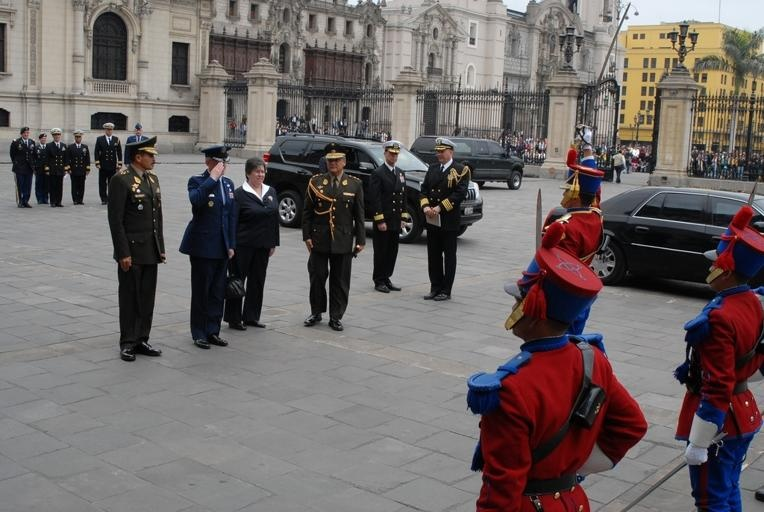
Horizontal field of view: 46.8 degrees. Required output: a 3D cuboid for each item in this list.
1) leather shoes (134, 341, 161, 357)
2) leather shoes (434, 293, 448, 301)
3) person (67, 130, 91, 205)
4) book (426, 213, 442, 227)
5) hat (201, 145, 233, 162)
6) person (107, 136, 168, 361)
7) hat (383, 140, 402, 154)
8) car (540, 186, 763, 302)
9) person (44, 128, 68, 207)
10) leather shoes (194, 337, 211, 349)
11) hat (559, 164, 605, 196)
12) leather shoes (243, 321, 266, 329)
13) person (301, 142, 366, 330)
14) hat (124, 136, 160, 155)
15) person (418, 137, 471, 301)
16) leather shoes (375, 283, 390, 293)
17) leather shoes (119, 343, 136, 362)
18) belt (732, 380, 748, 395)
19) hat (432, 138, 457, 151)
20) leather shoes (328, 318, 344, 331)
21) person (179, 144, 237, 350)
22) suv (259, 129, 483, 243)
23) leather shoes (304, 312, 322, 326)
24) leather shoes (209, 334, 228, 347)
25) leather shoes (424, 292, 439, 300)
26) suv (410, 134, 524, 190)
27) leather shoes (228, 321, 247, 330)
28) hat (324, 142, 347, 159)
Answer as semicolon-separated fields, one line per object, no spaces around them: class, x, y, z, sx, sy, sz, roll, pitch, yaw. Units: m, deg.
leather shoes;-2.878;1.147;10.774;0.406;0.143;0.128;1;8;-7
leather shoes;0.924;0.636;13.739;0.088;0.085;0.218;-6;-10;34
person;-8.045;-2.372;23.331;0.538;1.891;1.092;0;10;-18
book;0.822;-0.564;13.845;0.249;0.213;0.187;10;22;32
hat;-2.084;-1.300;10.986;0.267;0.148;0.295;-6;11;-34
person;-2.942;-0.109;10.674;0.660;2.670;0.608;-2;11;-31
hat;0.143;-1.791;14.421;0.283;0.120;0.310;0;3;-21
car;5.704;-0.258;14.763;4.983;1.518;1.859;0;4;19
person;-8.413;-2.300;22.802;0.502;1.897;1.363;0;10;-19
leather shoes;-2.273;1.111;11.177;0.252;0.089;0.100;8;11;43
hat;1.893;-0.724;8.362;0.356;0.177;0.268;16;13;35
leather shoes;-1.731;0.939;12.051;0.325;0.119;0.102;-1;8;-2
person;-0.716;-0.118;12.343;0.841;2.130;1.002;4;9;4
hat;-2.997;-1.330;10.603;0.589;0.249;0.453;0;8;-1
person;0.965;-0.606;13.976;0.752;2.498;0.986;4;9;3
leather shoes;0.006;0.523;14.216;0.237;0.084;0.116;5;7;40
leather shoes;-3.054;1.166;10.639;0.176;0.170;0.252;1;9;-14
belt;3.001;1.109;7.401;0.134;0.050;0.099;-6;-5;-38
hat;0.989;-1.773;13.978;0.261;0.191;0.325;5;9;11
leather shoes;-0.600;0.931;12.104;0.227;0.144;0.246;-1;10;-23
person;-2.173;-0.132;11.182;0.681;2.545;0.581;-1;10;-25
suv;-0.351;-1.611;19.455;5.053;1.741;2.254;4;8;20
leather shoes;-0.947;0.883;12.250;0.109;0.122;0.316;0;1;31
leather shoes;-2.039;1.074;11.294;0.332;0.116;0.102;10;15;5
leather shoes;0.754;0.625;13.802;0.248;0.087;0.085;-2;5;-14
suv;3.541;-3.442;32.733;4.616;1.689;2.315;-5;11;-28
leather shoes;-1.953;0.953;11.976;0.257;0.094;0.092;2;8;18
hat;-0.640;-1.447;12.269;0.269;0.141;0.282;0;-13;5
